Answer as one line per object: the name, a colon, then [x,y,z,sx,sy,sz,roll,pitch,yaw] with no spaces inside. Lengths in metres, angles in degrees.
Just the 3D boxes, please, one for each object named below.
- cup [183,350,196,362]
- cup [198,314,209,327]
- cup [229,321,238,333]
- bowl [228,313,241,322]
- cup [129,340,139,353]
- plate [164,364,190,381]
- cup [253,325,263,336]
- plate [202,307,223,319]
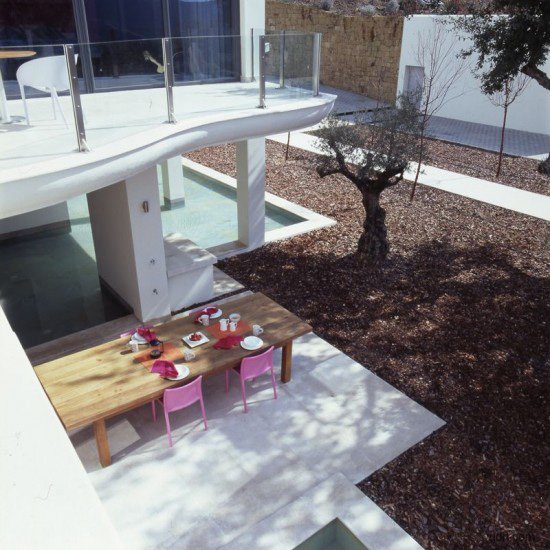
cup: [-0.988,0.939,4.920,0.101,0.092,0.142,6,13,22]
cup: [-0.915,0.582,5.537,0.120,0.143,0.152,-7,24,-18]
cup: [-0.547,0.667,5.489,0.094,0.124,0.142,8,14,32]
bowl: [-0.540,0.567,5.618,0.116,0.039,0.104,-3,42,-7]
cup: [-1.658,0.841,5.014,0.152,0.128,0.087,0,30,-7]
plate: [-1.063,1.077,4.757,0.236,0.053,0.289,2,23,5]
cup: [-0.226,0.696,5.423,0.145,0.109,0.084,-2,20,-17]
plate: [-0.835,0.507,5.712,0.189,0.061,0.178,0,25,-2]
